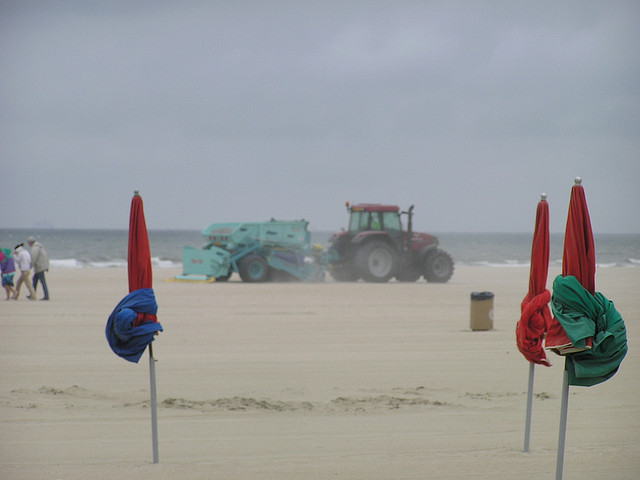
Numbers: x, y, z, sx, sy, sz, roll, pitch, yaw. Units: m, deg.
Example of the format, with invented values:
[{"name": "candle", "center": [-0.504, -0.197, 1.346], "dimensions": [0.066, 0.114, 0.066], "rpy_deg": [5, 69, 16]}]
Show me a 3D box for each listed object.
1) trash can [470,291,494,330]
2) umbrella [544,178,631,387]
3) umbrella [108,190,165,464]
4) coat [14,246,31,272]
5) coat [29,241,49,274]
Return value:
[{"name": "trash can", "center": [2.686, 1.172, 26.138], "dimensions": [0.379, 0.624, 0.451], "rpy_deg": [-1, 2, 2]}, {"name": "umbrella", "center": [3.381, 0.537, 20.123], "dimensions": [1.006, 2.655, 0.328], "rpy_deg": [0, 2, 9]}, {"name": "umbrella", "center": [-2.438, 1.095, 20.818], "dimensions": [0.779, 3.387, 0.732], "rpy_deg": [-5, 11, -24]}, {"name": "coat", "center": [-5.619, 0.364, 29.793], "dimensions": [0.285, 0.476, 0.374], "rpy_deg": [-1, 2, -14]}, {"name": "coat", "center": [-5.325, 0.326, 29.816], "dimensions": [0.338, 0.630, 0.642], "rpy_deg": [-1, 2, -10]}]
